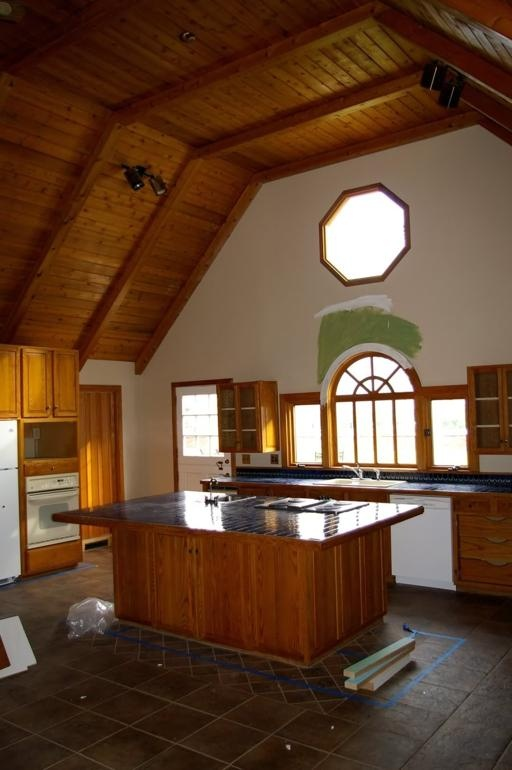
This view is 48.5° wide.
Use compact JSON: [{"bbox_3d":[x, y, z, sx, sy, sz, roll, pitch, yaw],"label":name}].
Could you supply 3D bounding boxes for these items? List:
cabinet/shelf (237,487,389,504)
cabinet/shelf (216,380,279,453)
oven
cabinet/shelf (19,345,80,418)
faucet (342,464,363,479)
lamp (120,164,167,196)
[{"bbox_3d":[0.565,1.134,6.006,1.782,0.146,0.164,-7,-8,37],"label":"cabinet/shelf"},{"bbox_3d":[-0.124,0.416,7.159,0.696,0.896,0.348,-4,-2,39],"label":"cabinet/shelf"},{"bbox_3d":[-2.441,1.423,6.623,0.677,0.828,0.625,0,-4,-28],"label":"oven"},{"bbox_3d":[-2.309,-0.011,6.698,0.901,0.833,0.399,1,2,19],"label":"cabinet/shelf"},{"bbox_3d":[1.104,0.963,6.412,0.169,0.066,0.109,9,14,9],"label":"faucet"},{"bbox_3d":[-1.194,-2.133,6.105,0.325,0.151,0.433,29,6,18],"label":"lamp"}]
